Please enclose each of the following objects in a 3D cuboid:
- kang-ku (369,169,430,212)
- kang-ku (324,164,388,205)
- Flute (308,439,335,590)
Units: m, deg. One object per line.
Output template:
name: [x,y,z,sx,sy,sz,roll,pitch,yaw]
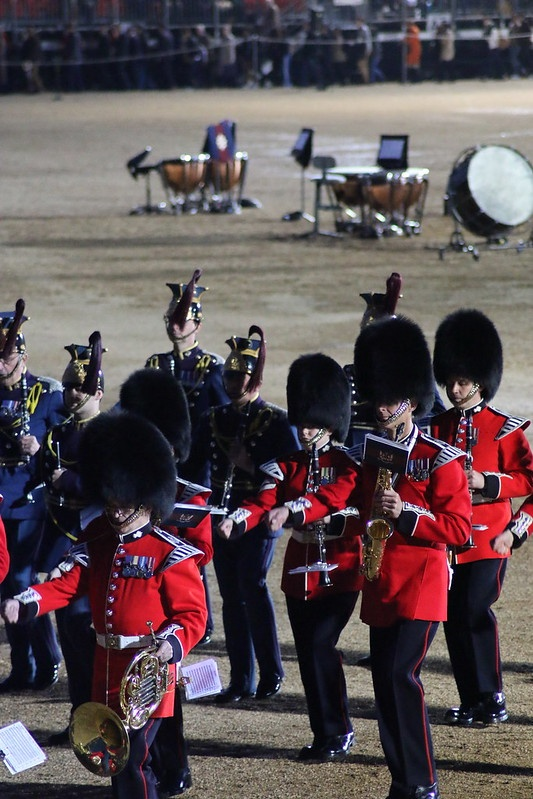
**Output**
kang-ku: [1.425,-2.216,20.235,0.549,0.446,0.493,-10,18,-29]
kang-ku: [0.911,-2.354,20.458,0.474,0.313,0.489,-1,0,-11]
Flute: [0.215,0.481,7.647,0.102,0.506,0.120,2,13,-4]
